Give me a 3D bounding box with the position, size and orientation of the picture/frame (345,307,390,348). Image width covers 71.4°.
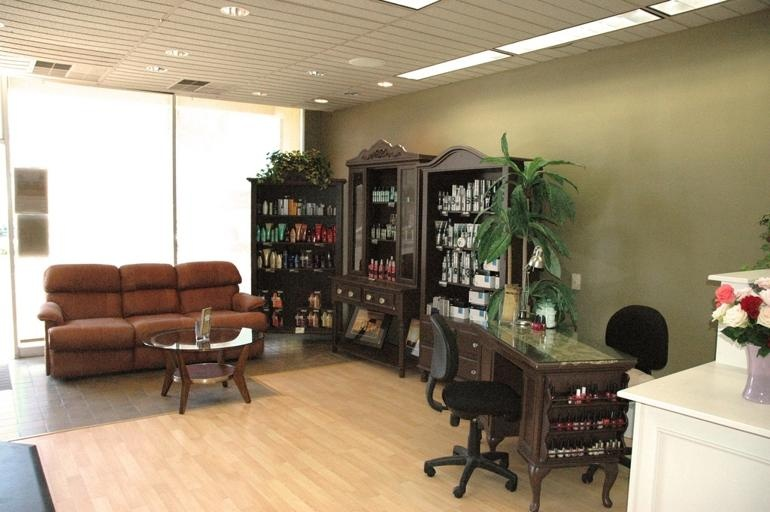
[{"bbox_3d":[-0.237,1.067,7.859,0.727,0.663,0.038,6,-19,43],"label":"picture/frame"}]

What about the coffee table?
[{"bbox_3d":[-2.063,1.189,6.093,1.126,0.555,1.042,2,7,3],"label":"coffee table"}]

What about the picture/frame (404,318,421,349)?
[{"bbox_3d":[0.368,1.047,7.253,0.168,0.373,0.248,3,12,9],"label":"picture/frame"}]
